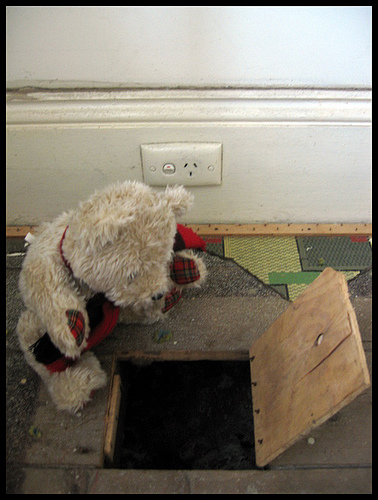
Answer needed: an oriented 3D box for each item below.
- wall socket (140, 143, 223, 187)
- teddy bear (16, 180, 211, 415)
[{"bbox_3d":[-0.021,-0.225,1.175,0.221,0.139,0.018,-1,39,-1],"label":"wall socket"},{"bbox_3d":[-0.193,0.051,0.987,0.348,0.466,0.437,39,47,20],"label":"teddy bear"}]
